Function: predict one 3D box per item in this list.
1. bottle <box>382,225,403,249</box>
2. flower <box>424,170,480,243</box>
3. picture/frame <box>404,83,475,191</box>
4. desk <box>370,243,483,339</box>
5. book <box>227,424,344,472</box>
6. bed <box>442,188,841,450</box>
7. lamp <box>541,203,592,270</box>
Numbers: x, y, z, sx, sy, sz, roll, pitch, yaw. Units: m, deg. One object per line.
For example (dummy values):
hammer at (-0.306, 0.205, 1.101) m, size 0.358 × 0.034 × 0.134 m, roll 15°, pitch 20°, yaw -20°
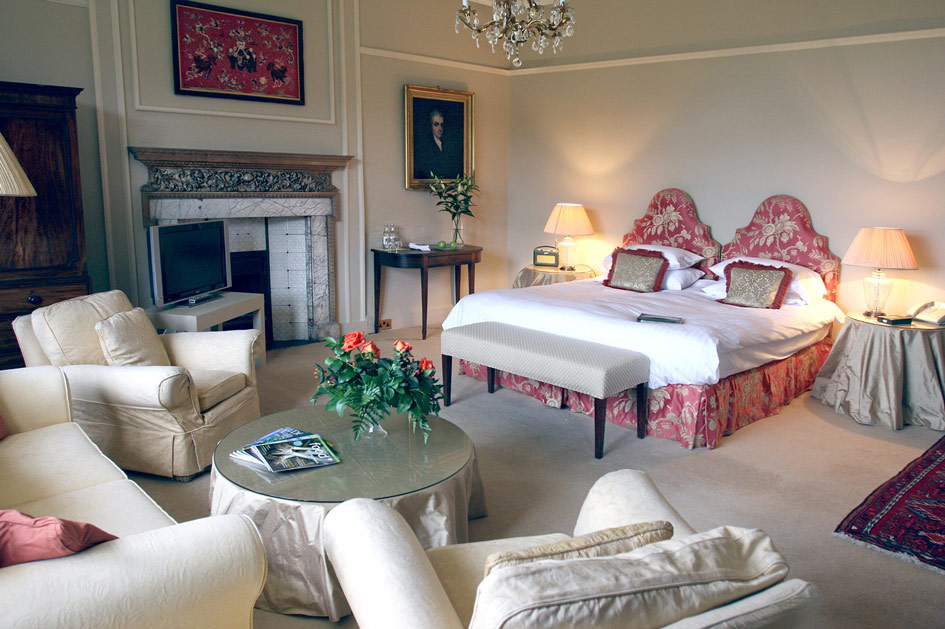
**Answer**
bottle at (-0.831, -0.793, 6.725) m, size 0.229 × 0.276 × 0.243 m, roll 8°, pitch 11°, yaw 38°
flower at (-0.243, -1.175, 7.301) m, size 0.728 × 0.933 × 0.678 m, roll -3°, pitch 8°, yaw -21°
picture/frame at (-0.355, -1.874, 7.010) m, size 0.895 × 1.035 × 0.133 m, roll -10°, pitch 19°, yaw -42°
desk at (-0.522, -0.240, 6.674) m, size 0.412 × 0.702 × 0.932 m, roll 9°, pitch 13°, yaw 38°
book at (-0.934, 0.697, 3.301) m, size 0.450 × 0.077 × 0.428 m, roll -8°, pitch 17°, yaw -41°
bed at (1.681, 0.021, 5.390) m, size 2.482 × 1.566 × 2.466 m, roll -7°, pitch 11°, yaw -38°
lamp at (0.991, -0.823, 6.994) m, size 0.662 × 0.793 × 0.661 m, roll 0°, pitch 6°, yaw -2°
